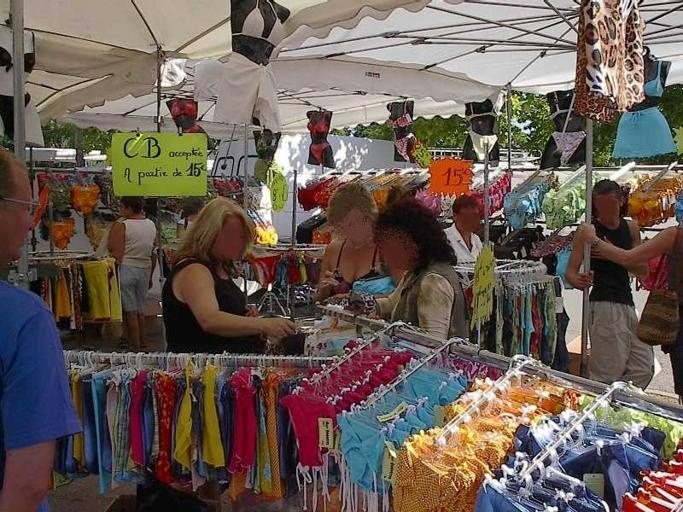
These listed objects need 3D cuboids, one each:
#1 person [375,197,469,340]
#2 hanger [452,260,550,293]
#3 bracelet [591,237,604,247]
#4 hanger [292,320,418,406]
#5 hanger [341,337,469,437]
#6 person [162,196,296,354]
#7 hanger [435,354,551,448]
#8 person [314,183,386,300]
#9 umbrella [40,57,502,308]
[{"bbox_3d":[0.431,0.049,3.333,0.614,0.972,0.747,0,5,12],"label":"person"},{"bbox_3d":[1.378,0.144,4.785,0.556,0.194,0.430,-1,6,11],"label":"hanger"},{"bbox_3d":[1.855,-0.105,4.132,0.022,0.075,0.077,25,13,5],"label":"bracelet"},{"bbox_3d":[0.060,0.420,2.396,0.359,0.114,0.243,-27,23,-35],"label":"hanger"},{"bbox_3d":[0.232,0.526,2.214,0.349,0.111,0.256,-28,16,-28],"label":"hanger"},{"bbox_3d":[-0.681,0.129,3.219,0.647,0.902,0.559,-2,7,-19],"label":"person"},{"bbox_3d":[0.566,0.544,2.102,0.035,0.063,0.428,40,46,16],"label":"hanger"},{"bbox_3d":[0.018,-0.112,4.011,0.430,0.825,0.614,-4,8,-30],"label":"person"},{"bbox_3d":[-0.856,-0.883,6.314,2.910,1.276,2.892,-15,24,-36],"label":"umbrella"}]
